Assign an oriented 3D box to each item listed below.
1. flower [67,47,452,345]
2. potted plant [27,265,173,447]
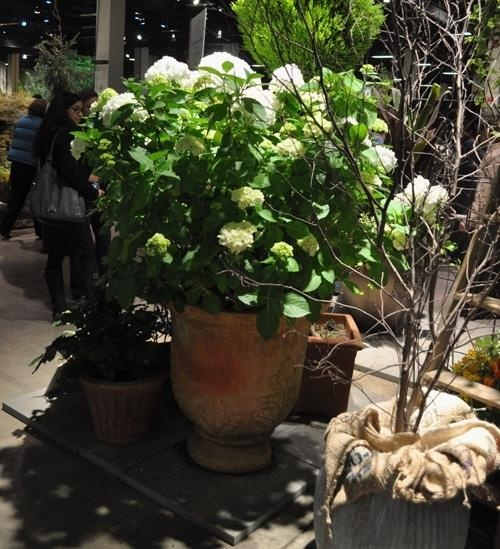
[{"bbox_3d":[-0.032,-0.264,1.535,1.341,0.765,1.046,3,-1,-7],"label":"flower"},{"bbox_3d":[-0.581,0.342,2.161,0.794,0.686,0.783,0,5,-14],"label":"potted plant"}]
